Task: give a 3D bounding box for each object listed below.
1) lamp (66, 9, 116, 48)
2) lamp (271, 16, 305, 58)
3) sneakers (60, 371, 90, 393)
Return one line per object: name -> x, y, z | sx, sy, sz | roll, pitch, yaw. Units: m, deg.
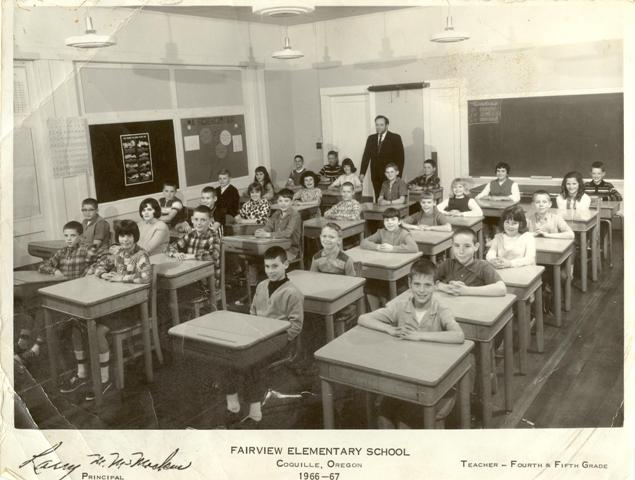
lamp -> -1.156, -1.065, 2.591 | 0.242, 0.166, 0.250 | 8, 14, 16
lamp -> -0.191, -1.162, 2.995 | 0.151, 0.176, 0.209 | 4, 14, 33
sneakers -> -1.298, 0.770, 2.758 | 0.147, 0.065, 0.057 | -27, 42, -37
